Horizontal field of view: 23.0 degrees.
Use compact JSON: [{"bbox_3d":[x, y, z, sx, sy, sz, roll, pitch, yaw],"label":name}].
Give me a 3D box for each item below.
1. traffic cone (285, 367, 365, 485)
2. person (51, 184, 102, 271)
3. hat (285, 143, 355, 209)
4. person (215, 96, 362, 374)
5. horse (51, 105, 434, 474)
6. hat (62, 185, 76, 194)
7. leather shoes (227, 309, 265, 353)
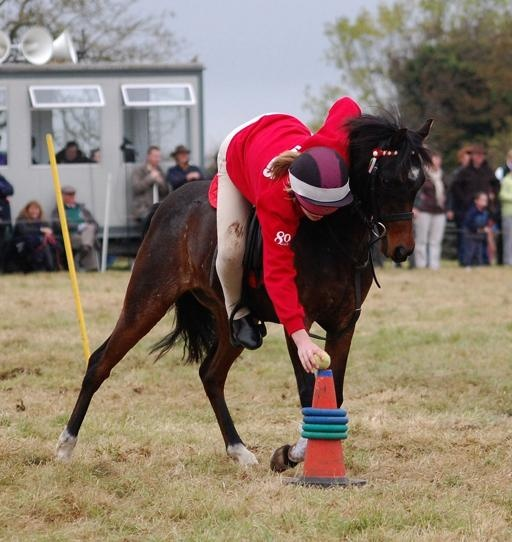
[{"bbox_3d":[0.363,0.783,6.360,0.394,0.605,0.223,1,7,4],"label":"traffic cone"},{"bbox_3d":[-1.234,-0.318,8.577,0.297,0.441,0.786,-4,18,-22],"label":"person"},{"bbox_3d":[0.323,-0.485,6.141,0.307,0.205,0.409,-8,41,-22],"label":"hat"},{"bbox_3d":[0.144,-0.175,6.463,0.589,1.241,1.001,-3,8,-23],"label":"person"},{"bbox_3d":[-0.007,0.177,6.961,2.588,1.722,0.634,-6,-8,44],"label":"horse"},{"bbox_3d":[-1.251,-0.537,8.355,0.060,0.044,0.060,2,-15,11],"label":"hat"},{"bbox_3d":[-0.036,0.312,6.535,0.130,0.259,0.092,-11,31,-14],"label":"leather shoes"}]
